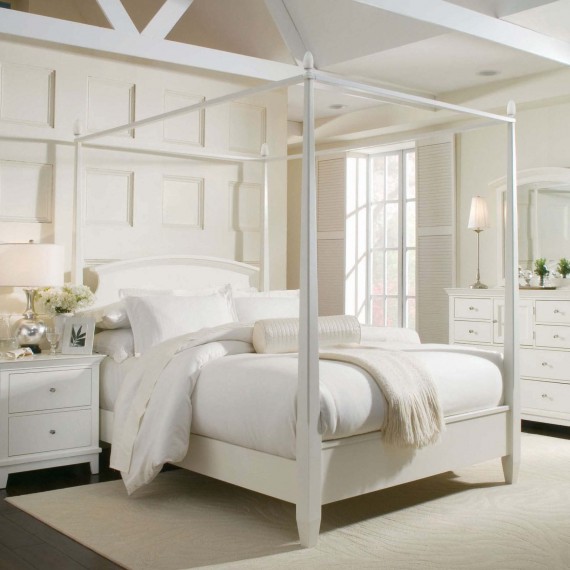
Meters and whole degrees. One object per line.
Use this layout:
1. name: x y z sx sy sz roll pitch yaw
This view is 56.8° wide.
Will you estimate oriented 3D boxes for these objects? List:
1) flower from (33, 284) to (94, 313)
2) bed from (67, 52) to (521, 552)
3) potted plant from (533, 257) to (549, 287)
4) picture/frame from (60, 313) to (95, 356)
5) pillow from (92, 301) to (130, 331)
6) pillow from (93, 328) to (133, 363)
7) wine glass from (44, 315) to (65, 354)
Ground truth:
1. flower: -1.304 0.085 3.082 0.197 0.137 0.197 -1 1 12
2. bed: 0.028 0.096 2.953 1.722 1.610 2.094 2 -5 -30
3. potted plant: 2.149 -0.109 4.421 0.114 0.251 0.161 -3 -7 26
4. picture/frame: -1.162 0.290 2.955 0.252 0.312 0.022 2 -38 -7
5. pillow: -1.035 0.189 3.173 0.192 0.084 0.197 -14 20 -14
6. pillow: -0.976 0.363 3.002 0.191 0.058 0.203 11 20 -13
7. wine glass: -1.305 0.304 3.002 0.110 0.165 0.111 0 -7 14
